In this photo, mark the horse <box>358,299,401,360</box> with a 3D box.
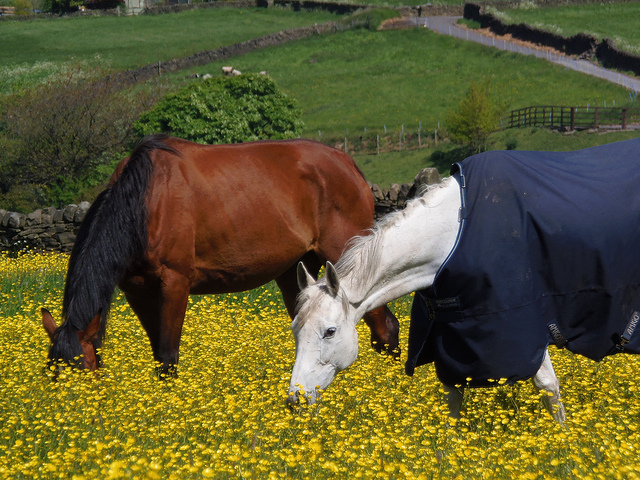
[{"bbox_3d":[1.295,2.009,21.033,0.758,1.263,0.302,-2,-16,-41],"label":"horse"}]

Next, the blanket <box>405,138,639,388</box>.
[{"bbox_3d":[4.365,0.601,19.553,4.485,4.325,2.092,-3,25,-9],"label":"blanket"}]
